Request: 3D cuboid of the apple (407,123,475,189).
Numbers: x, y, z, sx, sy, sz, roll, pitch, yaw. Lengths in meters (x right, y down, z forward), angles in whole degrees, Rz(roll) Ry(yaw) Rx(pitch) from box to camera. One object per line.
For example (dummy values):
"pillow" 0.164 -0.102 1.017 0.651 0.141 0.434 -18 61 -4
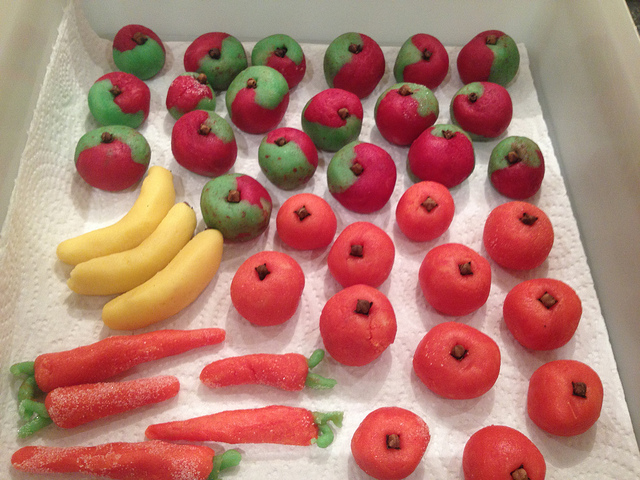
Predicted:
"apple" 0.317 -0.214 1.637 0.142 0.149 0.162 28 90 3

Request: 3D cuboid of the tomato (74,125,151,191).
"tomato" -0.535 -0.211 1.655 0.162 0.145 0.167 34 81 -4

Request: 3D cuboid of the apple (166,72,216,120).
"apple" -0.343 -0.383 1.622 0.103 0.114 0.123 6 77 -13

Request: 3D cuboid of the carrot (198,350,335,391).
"carrot" -0.121 0.314 1.474 0.309 0.094 0.133 2 58 -2

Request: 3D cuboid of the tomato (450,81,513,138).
"tomato" 0.421 -0.344 1.615 0.136 0.148 0.146 14 70 37

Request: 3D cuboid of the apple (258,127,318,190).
"apple" -0.079 -0.208 1.624 0.130 0.133 0.154 5 89 -2

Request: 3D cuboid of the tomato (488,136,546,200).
"tomato" 0.500 -0.184 1.571 0.131 0.085 0.158 6 99 19

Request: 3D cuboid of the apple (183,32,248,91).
"apple" -0.290 -0.463 1.702 0.128 0.090 0.165 3 87 -11

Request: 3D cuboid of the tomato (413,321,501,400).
"tomato" 0.311 0.283 1.411 0.185 0.112 0.161 26 71 4

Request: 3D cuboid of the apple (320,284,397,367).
"apple" 0.087 0.194 1.411 0.168 0.101 0.167 -22 74 -11

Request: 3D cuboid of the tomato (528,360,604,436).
"tomato" 0.560 0.383 1.427 0.148 0.168 0.185 11 80 -25

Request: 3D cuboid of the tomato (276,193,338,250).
"tomato" -0.034 -0.045 1.552 0.126 0.129 0.137 -40 90 3

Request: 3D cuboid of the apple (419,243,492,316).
"apple" 0.321 0.097 1.526 0.149 0.163 0.170 34 86 14

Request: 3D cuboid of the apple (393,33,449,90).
"apple" 0.281 -0.492 1.755 0.131 0.151 0.165 24 103 2

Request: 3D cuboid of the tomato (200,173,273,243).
"tomato" -0.204 -0.095 1.574 0.169 0.172 0.191 1 106 -19

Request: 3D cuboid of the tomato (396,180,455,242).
"tomato" 0.257 -0.074 1.568 0.137 0.128 0.134 -41 81 1

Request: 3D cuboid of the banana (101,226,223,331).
"banana" -0.426 0.082 1.462 0.130 0.402 0.169 33 116 42

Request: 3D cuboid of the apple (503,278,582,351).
"apple" 0.534 0.204 1.502 0.153 0.124 0.171 -19 74 2

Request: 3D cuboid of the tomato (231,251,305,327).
"tomato" -0.122 0.112 1.502 0.139 0.160 0.171 11 62 4

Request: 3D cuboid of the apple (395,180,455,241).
"apple" 0.261 -0.072 1.561 0.129 0.110 0.140 -26 85 1

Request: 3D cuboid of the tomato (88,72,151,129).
"tomato" -0.545 -0.348 1.686 0.138 0.136 0.157 6 84 -7

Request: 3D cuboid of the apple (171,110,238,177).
"apple" -0.294 -0.247 1.641 0.152 0.144 0.164 25 91 -2

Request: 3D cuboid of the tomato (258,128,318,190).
"tomato" -0.079 -0.209 1.559 0.129 0.133 0.154 4 97 -5

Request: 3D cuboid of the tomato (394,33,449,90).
"tomato" 0.288 -0.509 1.739 0.156 0.166 0.193 1 103 -13

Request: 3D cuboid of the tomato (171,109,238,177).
"tomato" -0.300 -0.251 1.641 0.150 0.143 0.164 24 91 -1

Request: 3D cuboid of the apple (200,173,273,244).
"apple" -0.212 -0.117 1.587 0.187 0.205 0.205 -2 120 -14

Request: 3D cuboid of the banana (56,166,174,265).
"banana" -0.493 -0.038 1.545 0.164 0.092 0.321 41 72 5

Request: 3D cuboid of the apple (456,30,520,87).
"apple" 0.472 -0.495 1.751 0.133 0.136 0.167 -9 80 -3

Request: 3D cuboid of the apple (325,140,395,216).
"apple" 0.105 -0.161 1.581 0.172 0.114 0.148 16 71 1

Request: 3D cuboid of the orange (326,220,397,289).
"orange" 0.102 0.040 1.474 0.146 0.075 0.153 38 73 8

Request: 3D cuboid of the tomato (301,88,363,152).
"tomato" 0.017 -0.338 1.646 0.136 0.155 0.140 11 40 40

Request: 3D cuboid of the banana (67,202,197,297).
"banana" -0.457 0.060 1.538 0.166 0.091 0.318 44 70 9

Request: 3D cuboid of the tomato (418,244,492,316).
"tomato" 0.326 0.098 1.517 0.182 0.196 0.208 -4 98 5

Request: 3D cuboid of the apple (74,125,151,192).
"apple" -0.533 -0.208 1.639 0.157 0.147 0.174 24 80 0

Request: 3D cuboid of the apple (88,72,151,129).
"apple" -0.524 -0.371 1.629 0.137 0.136 0.156 5 82 -7

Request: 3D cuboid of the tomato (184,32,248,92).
"tomato" -0.292 -0.460 1.677 0.133 0.092 0.165 18 83 -9

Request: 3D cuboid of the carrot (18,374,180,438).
"carrot" -0.509 0.363 1.431 0.360 0.106 0.127 -8 123 -20

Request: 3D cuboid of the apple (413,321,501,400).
"apple" 0.320 0.296 1.427 0.201 0.136 0.209 1 41 4

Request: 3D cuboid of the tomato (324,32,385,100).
"tomato" 0.090 -0.481 1.747 0.150 0.158 0.170 27 93 2

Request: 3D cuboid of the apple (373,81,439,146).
"apple" 0.232 -0.314 1.636 0.149 0.159 0.176 -9 91 9

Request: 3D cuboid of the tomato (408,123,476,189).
"tomato" 0.319 -0.206 1.644 0.140 0.149 0.164 -17 81 3
